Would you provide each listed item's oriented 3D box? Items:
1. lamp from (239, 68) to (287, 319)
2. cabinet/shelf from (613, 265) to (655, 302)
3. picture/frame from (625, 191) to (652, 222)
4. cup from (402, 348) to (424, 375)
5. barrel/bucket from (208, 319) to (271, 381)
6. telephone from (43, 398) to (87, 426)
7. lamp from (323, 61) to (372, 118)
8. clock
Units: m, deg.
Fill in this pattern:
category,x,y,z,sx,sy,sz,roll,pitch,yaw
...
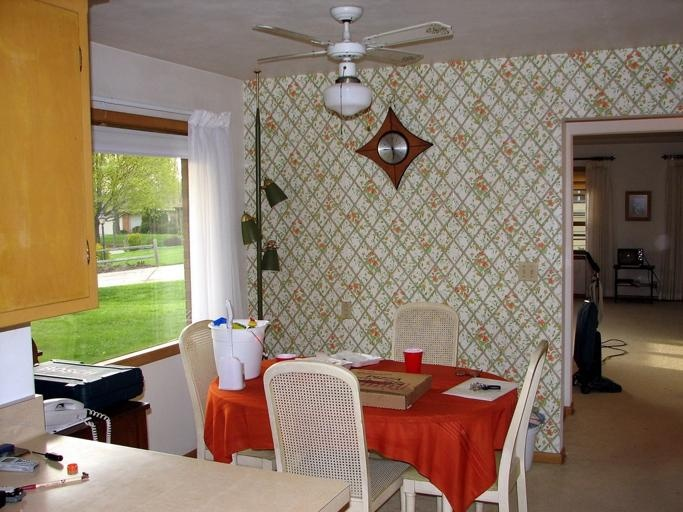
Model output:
category,x,y,z,sx,sy,sz,roll,pitch,yaw
lamp,-0.593,-0.434,4.285,0.326,1.893,0.498,-3,6,-6
cabinet/shelf,5.194,0.483,9.868,0.641,0.600,0.272,0,-2,21
picture/frame,5.171,-0.882,9.691,0.528,0.703,0.054,0,1,14
cup,0.376,0.550,2.983,0.124,0.134,0.125,1,4,0
barrel/bucket,-0.484,0.457,2.881,0.303,0.264,0.310,0,-3,0
telephone,-1.118,0.627,2.259,0.101,0.051,0.148,1,-2,45
lamp,0.034,-0.745,2.615,0.243,0.285,0.238,0,1,3
clock,0.408,-0.786,4.077,0.624,0.623,0.045,1,1,22
